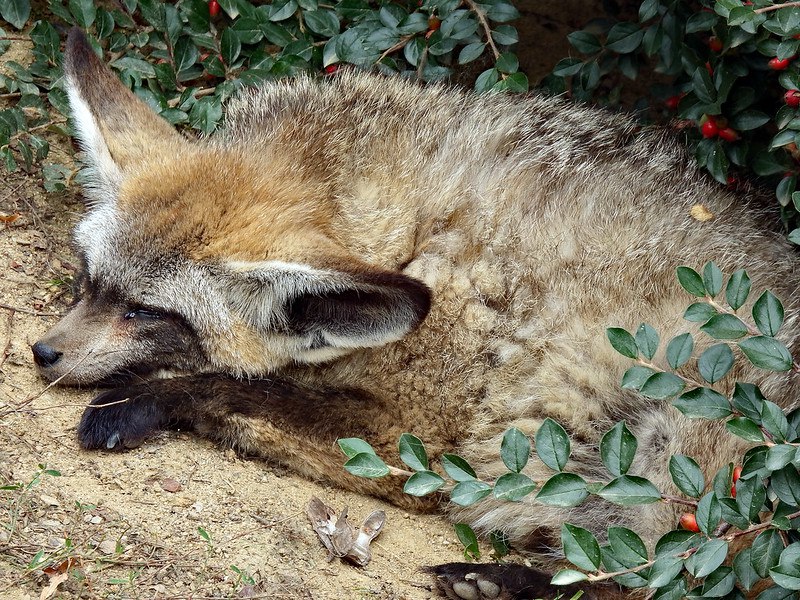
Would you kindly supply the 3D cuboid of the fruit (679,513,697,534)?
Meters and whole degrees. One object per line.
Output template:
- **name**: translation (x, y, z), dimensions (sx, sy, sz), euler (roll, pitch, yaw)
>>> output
- **fruit**: translation (1.385, 1.072, 5.057), dimensions (0.059, 0.093, 0.057), euler (-17, 42, 14)
